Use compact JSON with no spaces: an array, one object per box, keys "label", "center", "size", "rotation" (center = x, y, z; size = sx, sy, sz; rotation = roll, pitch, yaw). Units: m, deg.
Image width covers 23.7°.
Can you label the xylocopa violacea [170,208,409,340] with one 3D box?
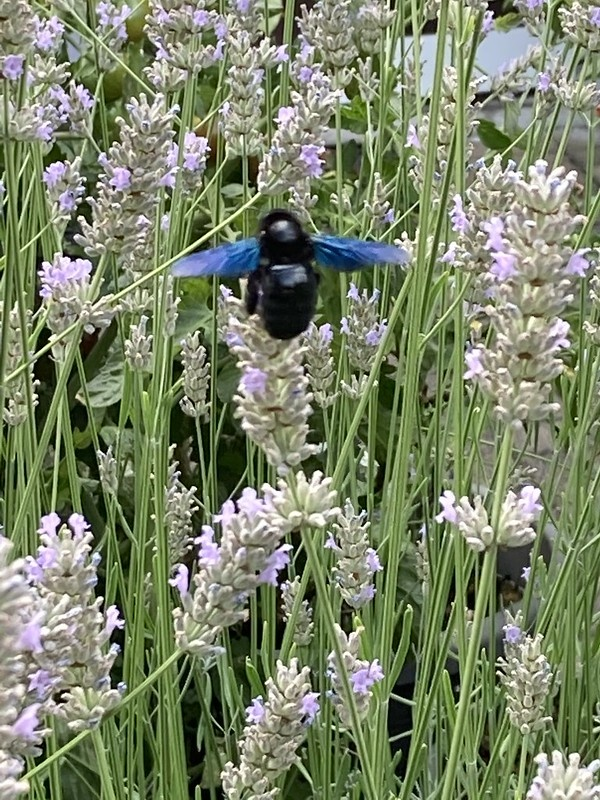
[{"label":"xylocopa violacea","center":[-0.023,-0.116,1.382],"size":[0.186,0.093,0.156],"rotation":[-15,-22,15]}]
